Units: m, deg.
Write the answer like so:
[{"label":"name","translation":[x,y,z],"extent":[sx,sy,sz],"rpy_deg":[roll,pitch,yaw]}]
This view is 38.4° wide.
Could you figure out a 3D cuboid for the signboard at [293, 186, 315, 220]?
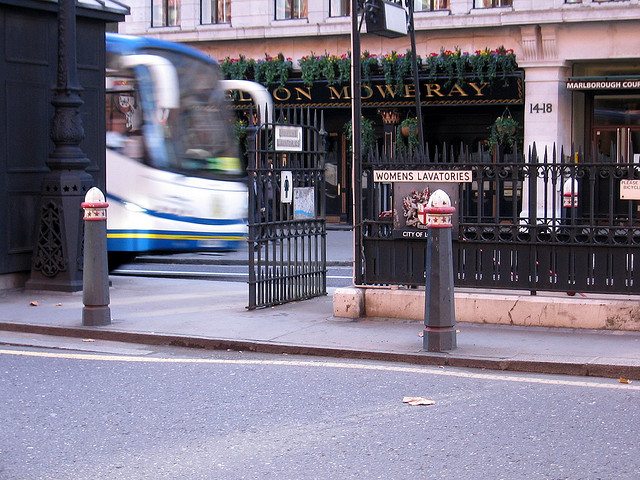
[{"label":"signboard","translation":[-0.226,-0.533,13.319],"extent":[0.027,0.473,0.654],"rpy_deg":[2,0,-27]}]

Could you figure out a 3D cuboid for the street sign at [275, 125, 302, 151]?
[{"label":"street sign","translation":[-0.432,-1.426,12.853],"extent":[0.104,0.372,0.605],"rpy_deg":[5,11,30]}]

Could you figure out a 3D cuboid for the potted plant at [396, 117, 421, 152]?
[{"label":"potted plant","translation":[2.755,-3.163,28.042],"extent":[0.713,0.979,0.631],"rpy_deg":[-8,6,-27]}]

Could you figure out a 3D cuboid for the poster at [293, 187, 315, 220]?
[{"label":"poster","translation":[-0.209,-0.542,13.316],"extent":[0.138,0.503,0.596],"rpy_deg":[3,10,21]}]

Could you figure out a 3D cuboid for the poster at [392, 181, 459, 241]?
[{"label":"poster","translation":[1.346,-0.373,11.709],"extent":[0.876,0.754,0.106],"rpy_deg":[4,11,27]}]

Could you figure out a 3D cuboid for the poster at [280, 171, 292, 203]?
[{"label":"poster","translation":[-0.466,-0.752,12.875],"extent":[0.066,0.446,0.344],"rpy_deg":[3,10,19]}]

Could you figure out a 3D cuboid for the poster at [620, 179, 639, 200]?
[{"label":"poster","translation":[3.686,-0.611,10.918],"extent":[0.217,0.211,0.032],"rpy_deg":[5,6,41]}]

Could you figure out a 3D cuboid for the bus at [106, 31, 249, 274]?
[{"label":"bus","translation":[-2.801,-1.797,17.251],"extent":[2.742,3.992,1.649],"rpy_deg":[-5,11,-26]}]
